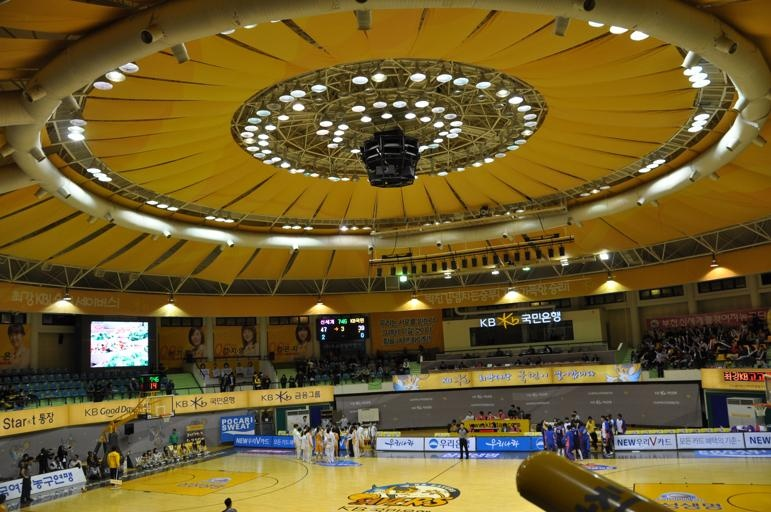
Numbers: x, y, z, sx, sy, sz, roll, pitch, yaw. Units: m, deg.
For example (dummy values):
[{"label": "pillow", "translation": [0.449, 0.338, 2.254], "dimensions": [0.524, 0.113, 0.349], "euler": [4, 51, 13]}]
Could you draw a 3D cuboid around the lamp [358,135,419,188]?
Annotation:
[{"label": "lamp", "translation": [0.156, -4.102, 24.338], "dimensions": [2.581, 1.758, 2.298], "euler": [-1, -9, 4]}]

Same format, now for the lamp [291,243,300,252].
[{"label": "lamp", "translation": [-5.342, -0.515, 34.954], "dimensions": [0.403, 0.340, 0.408], "euler": [-17, 16, 4]}]

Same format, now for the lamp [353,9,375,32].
[{"label": "lamp", "translation": [-0.593, -6.448, 15.958], "dimensions": [0.373, 0.351, 0.685], "euler": [-5, -13, 4]}]

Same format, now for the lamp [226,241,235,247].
[{"label": "lamp", "translation": [-8.791, -0.671, 33.193], "dimensions": [0.361, 0.284, 0.343], "euler": [10, 20, -26]}]
